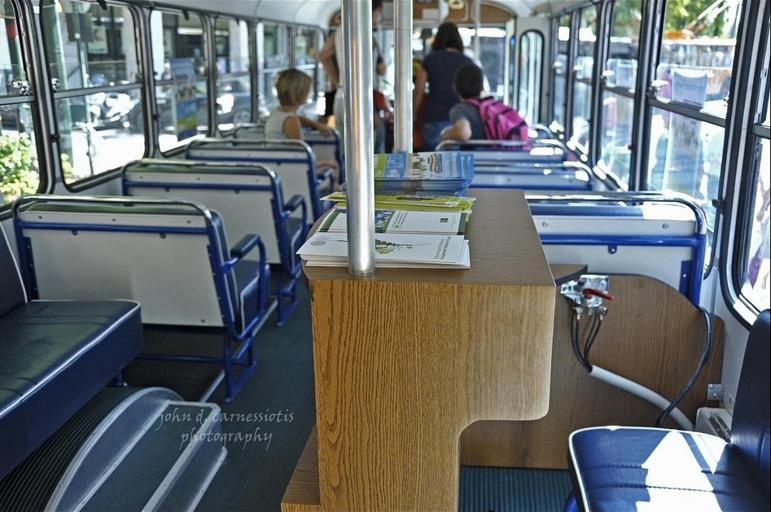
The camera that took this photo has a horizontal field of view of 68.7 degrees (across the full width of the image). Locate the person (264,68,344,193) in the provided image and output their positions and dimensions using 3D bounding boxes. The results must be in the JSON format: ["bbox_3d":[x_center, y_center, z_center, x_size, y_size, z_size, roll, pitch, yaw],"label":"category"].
[{"bbox_3d":[-1.025,-1.450,6.900,0.955,1.618,0.645,-18,36,-38],"label":"person"}]

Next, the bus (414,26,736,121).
[{"bbox_3d":[1.789,-1.842,5.664,2.296,0.557,2.139,5,19,6],"label":"bus"}]

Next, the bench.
[{"bbox_3d":[0.346,0.480,3.230,3.010,1.429,1.636,3,18,13],"label":"bench"}]
